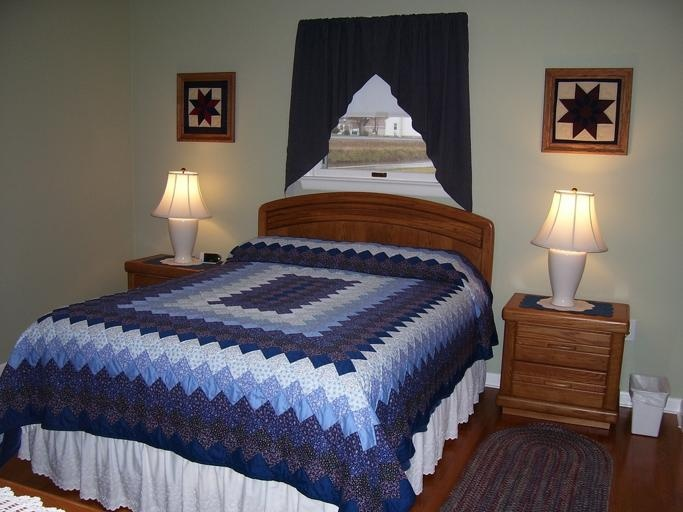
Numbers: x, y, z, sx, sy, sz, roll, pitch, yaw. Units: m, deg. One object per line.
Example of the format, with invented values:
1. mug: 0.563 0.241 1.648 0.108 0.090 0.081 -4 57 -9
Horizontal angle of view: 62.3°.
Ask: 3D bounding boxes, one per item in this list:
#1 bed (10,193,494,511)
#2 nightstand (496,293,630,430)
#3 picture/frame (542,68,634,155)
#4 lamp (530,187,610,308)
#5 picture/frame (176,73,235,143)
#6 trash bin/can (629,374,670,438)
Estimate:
1. bed: 0.200 0.187 4.357 2.067 1.429 2.163 4 9 30
2. nightstand: 1.506 0.704 4.074 0.946 0.986 0.743 2 6 18
3. picture/frame: 1.783 -1.038 4.001 0.531 0.595 0.038 6 6 20
4. lamp: 1.563 -0.051 3.863 0.454 0.806 0.260 -1 11 -7
5. picture/frame: -1.164 -1.315 4.934 0.534 0.601 0.042 5 6 22
6. trash bin/can: 2.084 1.017 3.799 0.276 0.351 0.234 4 9 22
